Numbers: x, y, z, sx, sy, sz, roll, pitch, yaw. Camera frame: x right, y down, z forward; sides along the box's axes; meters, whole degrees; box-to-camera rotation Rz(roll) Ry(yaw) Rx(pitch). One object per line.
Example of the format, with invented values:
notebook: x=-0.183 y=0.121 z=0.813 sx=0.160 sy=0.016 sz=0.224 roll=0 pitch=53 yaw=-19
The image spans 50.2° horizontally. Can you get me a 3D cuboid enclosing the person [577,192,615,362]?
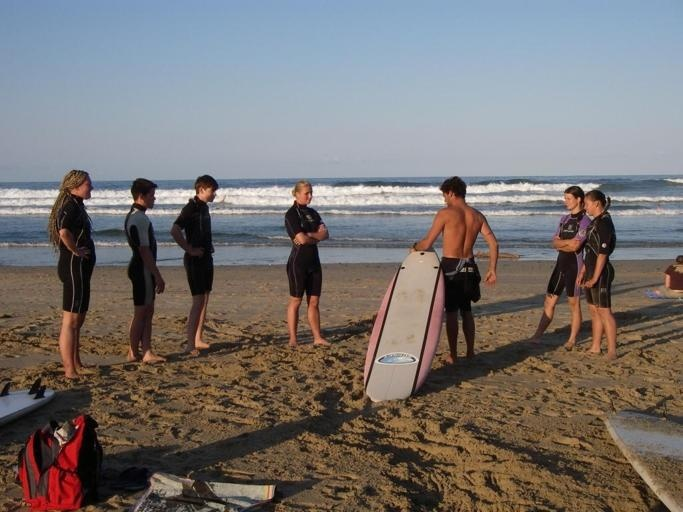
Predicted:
person: x=2.980 y=0.196 z=8.411 sx=0.394 sy=1.897 sz=0.643 roll=1 pitch=12 yaw=10

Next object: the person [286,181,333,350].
person: x=-0.423 y=0.087 z=8.850 sx=0.511 sy=1.983 sz=0.858 roll=-1 pitch=12 yaw=-4

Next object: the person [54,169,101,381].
person: x=-2.760 y=0.159 z=7.593 sx=0.469 sy=2.124 sz=1.071 roll=-5 pitch=12 yaw=-21

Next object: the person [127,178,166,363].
person: x=-2.199 y=0.155 z=8.034 sx=0.438 sy=2.057 sz=1.104 roll=-4 pitch=12 yaw=-15

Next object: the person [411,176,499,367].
person: x=1.344 y=0.119 z=8.463 sx=0.878 sy=2.100 sz=1.053 roll=2 pitch=12 yaw=11

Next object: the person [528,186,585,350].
person: x=2.696 y=0.104 z=8.949 sx=0.554 sy=1.928 sz=0.990 roll=3 pitch=12 yaw=16

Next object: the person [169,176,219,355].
person: x=-1.709 y=0.095 z=8.494 sx=0.393 sy=2.032 sz=0.688 roll=3 pitch=12 yaw=17
